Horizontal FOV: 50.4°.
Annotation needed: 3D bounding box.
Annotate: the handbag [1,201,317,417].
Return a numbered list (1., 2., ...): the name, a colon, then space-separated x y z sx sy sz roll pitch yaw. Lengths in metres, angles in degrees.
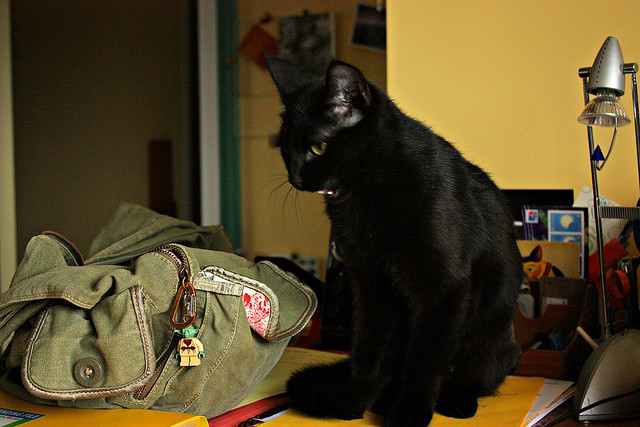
1. handbag: -0.343 0.209 1.349 0.448 0.229 0.478 6 3 11
